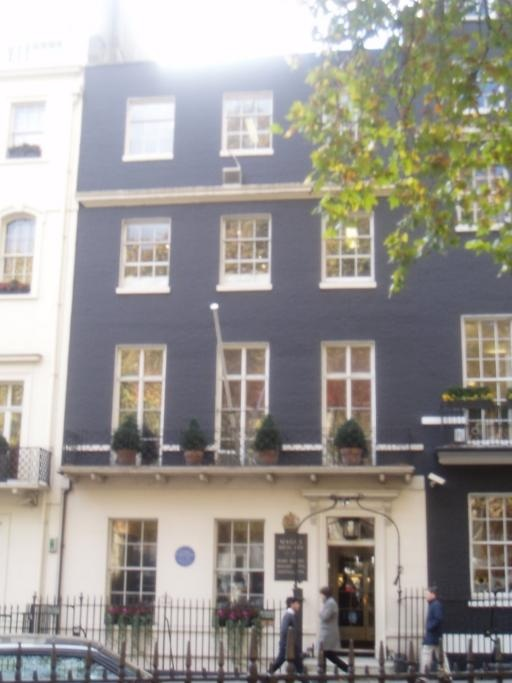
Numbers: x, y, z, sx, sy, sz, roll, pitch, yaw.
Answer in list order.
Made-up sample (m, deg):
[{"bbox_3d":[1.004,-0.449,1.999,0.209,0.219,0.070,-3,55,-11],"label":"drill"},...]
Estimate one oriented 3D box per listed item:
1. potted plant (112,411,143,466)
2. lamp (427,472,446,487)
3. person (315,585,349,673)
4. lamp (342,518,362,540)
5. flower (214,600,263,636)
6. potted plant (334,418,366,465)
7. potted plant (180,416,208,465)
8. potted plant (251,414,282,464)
[{"bbox_3d":[-2.677,2.030,21.866,0.626,1.539,0.740,4,-11,-19],"label":"potted plant"},{"bbox_3d":[3.568,2.701,21.173,0.307,0.242,0.168,33,-42,9],"label":"lamp"},{"bbox_3d":[1.263,4.814,17.792,0.448,1.447,1.400,-1,-15,4],"label":"person"},{"bbox_3d":[1.947,3.839,21.772,0.309,0.609,0.365,-2,-7,12],"label":"lamp"},{"bbox_3d":[-0.385,5.539,20.746,0.618,0.604,0.432,-2,-8,11],"label":"flower"},{"bbox_3d":[1.799,2.097,21.365,0.604,1.128,0.749,0,-21,0],"label":"potted plant"},{"bbox_3d":[-1.311,2.131,21.919,0.627,1.390,0.709,2,-16,-10],"label":"potted plant"},{"bbox_3d":[0.219,2.013,21.634,0.544,1.035,0.377,1,-13,-3],"label":"potted plant"}]
